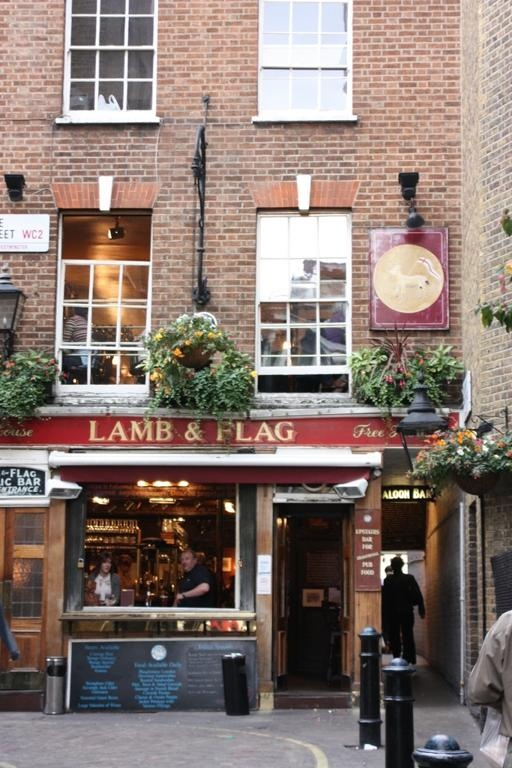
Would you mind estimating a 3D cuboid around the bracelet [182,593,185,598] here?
[{"bbox_3d":[-0.827,2.461,16.624,0.032,0.043,0.011,-6,-5,35],"label":"bracelet"}]

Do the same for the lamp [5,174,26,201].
[{"bbox_3d":[-2.828,-2.352,17.044,0.266,0.356,0.268,-1,-2,-4],"label":"lamp"}]

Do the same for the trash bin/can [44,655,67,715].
[{"bbox_3d":[-2.230,3.346,15.873,0.268,0.621,0.285,-1,-6,6],"label":"trash bin/can"}]

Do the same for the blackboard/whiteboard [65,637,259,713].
[{"bbox_3d":[-1.222,3.245,15.921,1.685,0.764,0.258,0,-6,-7],"label":"blackboard/whiteboard"}]

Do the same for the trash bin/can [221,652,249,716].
[{"bbox_3d":[-0.224,3.279,15.548,0.280,0.665,0.415,0,-6,0],"label":"trash bin/can"}]

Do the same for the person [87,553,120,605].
[{"bbox_3d":[-1.775,2.486,16.774,0.352,0.897,0.279,6,-9,-19],"label":"person"}]

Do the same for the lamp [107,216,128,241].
[{"bbox_3d":[-1.669,-1.888,17.307,0.159,0.303,0.289,2,4,-14],"label":"lamp"}]

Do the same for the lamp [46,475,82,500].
[{"bbox_3d":[-2.183,1.182,16.385,0.370,0.287,0.309,1,-7,-9],"label":"lamp"}]

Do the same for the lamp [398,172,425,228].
[{"bbox_3d":[1.797,-2.155,16.745,0.278,0.698,0.395,-1,-6,6],"label":"lamp"}]

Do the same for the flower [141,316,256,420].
[{"bbox_3d":[-0.644,-0.210,16.198,1.225,1.114,0.749,0,-6,-3],"label":"flower"}]

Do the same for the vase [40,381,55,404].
[{"bbox_3d":[-2.398,0.111,16.665,0.182,0.368,0.191,3,21,-3],"label":"vase"}]

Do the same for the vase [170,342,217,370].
[{"bbox_3d":[-0.662,-0.302,16.163,0.350,0.232,0.711,-3,-7,24],"label":"vase"}]

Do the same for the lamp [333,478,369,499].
[{"bbox_3d":[1.068,1.183,16.325,0.365,0.210,0.263,-2,-7,13],"label":"lamp"}]
